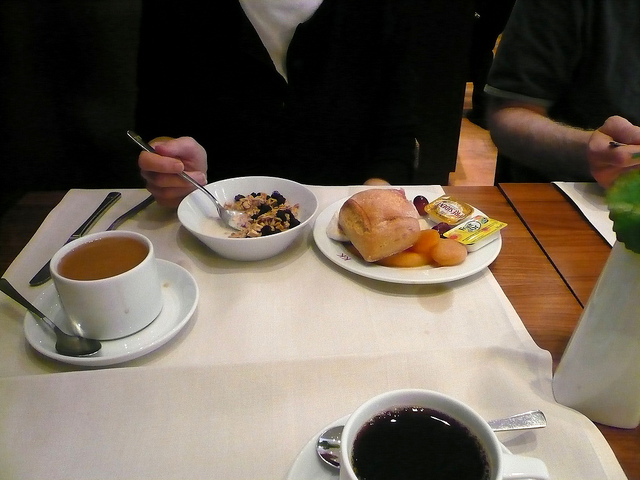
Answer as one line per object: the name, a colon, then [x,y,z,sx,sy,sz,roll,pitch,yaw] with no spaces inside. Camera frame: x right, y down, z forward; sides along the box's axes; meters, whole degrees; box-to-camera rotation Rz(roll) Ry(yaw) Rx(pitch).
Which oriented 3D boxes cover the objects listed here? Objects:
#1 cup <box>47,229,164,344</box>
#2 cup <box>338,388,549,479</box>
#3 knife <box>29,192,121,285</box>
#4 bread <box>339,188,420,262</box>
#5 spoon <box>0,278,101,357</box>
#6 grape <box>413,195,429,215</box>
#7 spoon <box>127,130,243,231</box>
cup: [-0.371,0.076,0.891,0.182,0.136,0.185,1,34,-1]
cup: [0.141,0.259,0.603,0.201,0.081,0.128,2,47,3]
knife: [-0.528,-0.021,1.056,0.037,0.020,0.257,8,38,6]
bread: [0.133,-0.038,1.036,0.153,0.080,0.153,-18,47,-18]
spoon: [-0.459,0.140,0.827,0.152,0.021,0.031,46,44,8]
grape: [0.246,-0.081,1.173,0.032,0.025,0.042,-3,73,-10]
spoon: [-0.364,-0.155,1.252,0.478,0.092,0.047,42,87,7]
